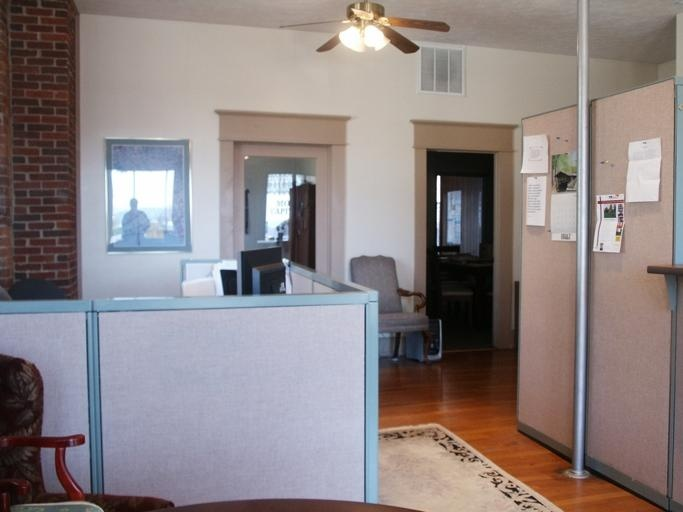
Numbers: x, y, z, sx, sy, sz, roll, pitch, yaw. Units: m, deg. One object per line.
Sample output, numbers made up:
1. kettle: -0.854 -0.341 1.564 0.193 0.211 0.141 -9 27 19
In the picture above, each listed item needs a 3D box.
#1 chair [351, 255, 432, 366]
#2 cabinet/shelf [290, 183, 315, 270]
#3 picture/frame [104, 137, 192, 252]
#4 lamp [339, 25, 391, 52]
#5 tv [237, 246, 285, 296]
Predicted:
1. chair: 0.520 0.561 6.226 0.834 1.095 0.653 0 6 -6
2. cabinet/shelf: -0.414 -0.337 6.441 0.283 0.911 0.105 1 5 -3
3. picture/frame: -1.878 -0.588 5.818 0.757 1.065 0.176 -1 6 -20
4. lamp: 0.208 -1.757 4.876 0.370 0.136 0.494 4 7 28
5. tv: -0.444 0.079 3.378 0.274 0.243 0.205 -2 6 -24
